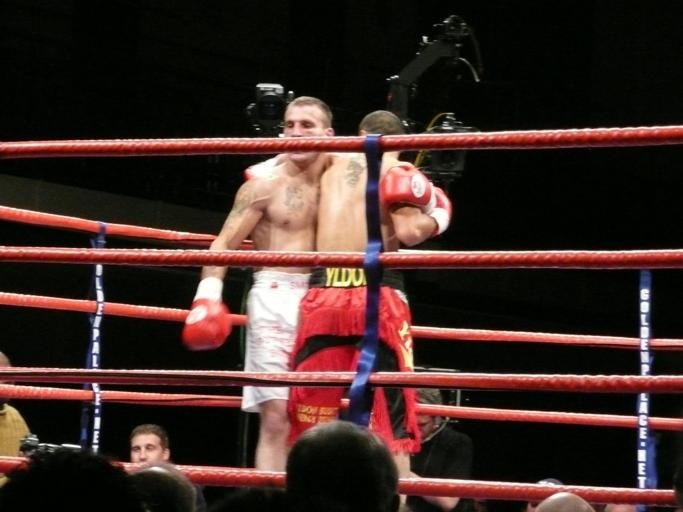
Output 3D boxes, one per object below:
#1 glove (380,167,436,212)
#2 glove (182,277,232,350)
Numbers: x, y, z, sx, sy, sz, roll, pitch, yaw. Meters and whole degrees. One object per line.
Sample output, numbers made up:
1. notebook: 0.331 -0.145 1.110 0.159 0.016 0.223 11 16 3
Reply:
1. glove: 0.278 -0.310 4.056 0.234 0.197 0.095 5 -21 1
2. glove: -0.584 0.251 4.061 0.198 0.337 0.160 9 -22 -4
